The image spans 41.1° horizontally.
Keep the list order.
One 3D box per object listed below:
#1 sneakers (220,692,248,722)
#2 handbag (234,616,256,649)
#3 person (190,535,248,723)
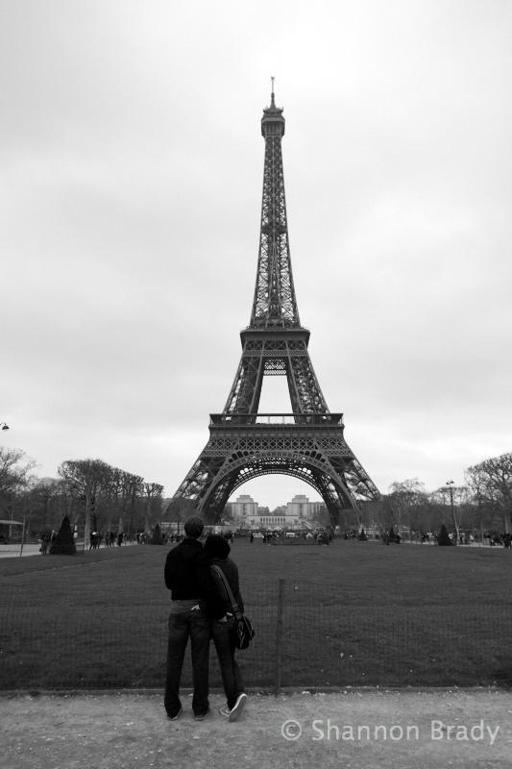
[{"bbox_3d":[-0.229,3.425,7.257,0.132,0.443,0.173,18,3,-23],"label":"sneakers"},{"bbox_3d":[-0.142,2.665,7.392,0.225,0.364,0.247,2,-11,-2],"label":"handbag"},{"bbox_3d":[-0.324,2.590,7.397,0.550,1.879,0.382,3,-10,-4],"label":"person"}]
